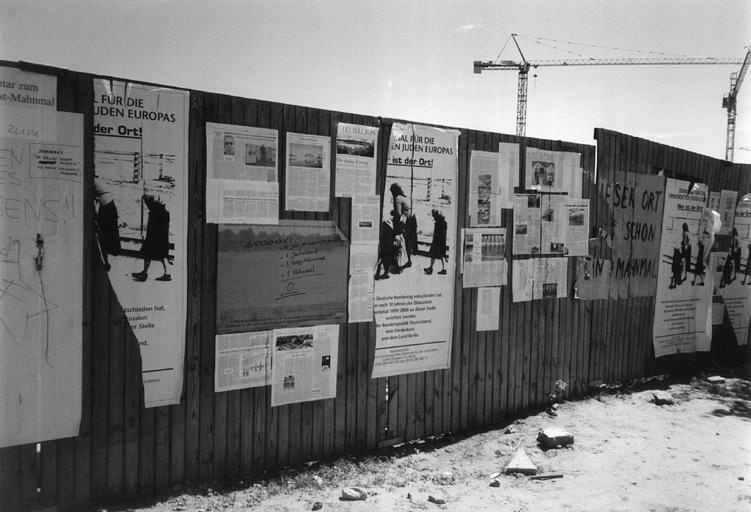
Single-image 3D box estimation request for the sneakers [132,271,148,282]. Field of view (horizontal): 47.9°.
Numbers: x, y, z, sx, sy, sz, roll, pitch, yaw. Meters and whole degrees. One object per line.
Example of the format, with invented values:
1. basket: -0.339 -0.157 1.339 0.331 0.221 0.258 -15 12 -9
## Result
1. sneakers: -2.841 0.238 10.331 0.142 0.163 0.093 8 0 -9
